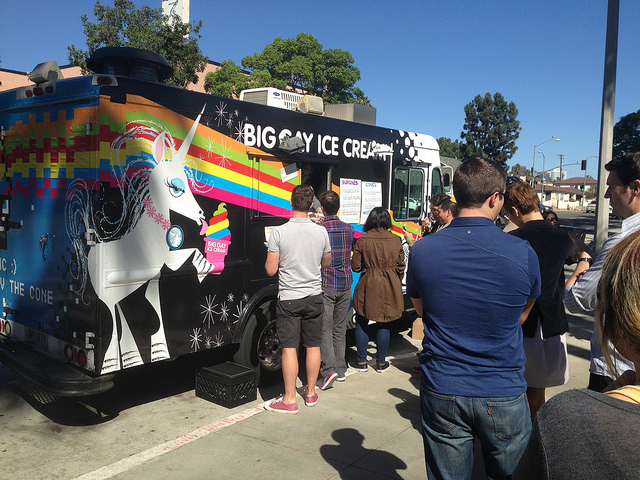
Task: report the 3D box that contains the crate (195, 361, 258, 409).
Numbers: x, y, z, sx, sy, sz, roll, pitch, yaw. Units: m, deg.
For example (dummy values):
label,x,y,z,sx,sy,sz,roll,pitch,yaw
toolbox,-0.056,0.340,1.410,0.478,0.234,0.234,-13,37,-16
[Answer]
label,x,y,z,sx,sy,sz,roll,pitch,yaw
crate,-1.009,1.614,5.243,0.589,0.348,0.424,3,1,45

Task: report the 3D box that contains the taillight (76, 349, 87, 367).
label,x,y,z,sx,sy,sz,roll,pitch,yaw
taillight,-2.249,1.099,4.340,0.031,0.154,0.135,1,5,-37

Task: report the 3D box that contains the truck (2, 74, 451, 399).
label,x,y,z,sx,sy,sz,roll,pitch,yaw
truck,-0.939,-0.237,6.420,5.314,3.148,3.505,-7,11,-39

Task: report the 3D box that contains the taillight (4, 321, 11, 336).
label,x,y,z,sx,sy,sz,roll,pitch,yaw
taillight,-3.531,0.983,5.193,0.033,0.144,0.131,0,8,-24
